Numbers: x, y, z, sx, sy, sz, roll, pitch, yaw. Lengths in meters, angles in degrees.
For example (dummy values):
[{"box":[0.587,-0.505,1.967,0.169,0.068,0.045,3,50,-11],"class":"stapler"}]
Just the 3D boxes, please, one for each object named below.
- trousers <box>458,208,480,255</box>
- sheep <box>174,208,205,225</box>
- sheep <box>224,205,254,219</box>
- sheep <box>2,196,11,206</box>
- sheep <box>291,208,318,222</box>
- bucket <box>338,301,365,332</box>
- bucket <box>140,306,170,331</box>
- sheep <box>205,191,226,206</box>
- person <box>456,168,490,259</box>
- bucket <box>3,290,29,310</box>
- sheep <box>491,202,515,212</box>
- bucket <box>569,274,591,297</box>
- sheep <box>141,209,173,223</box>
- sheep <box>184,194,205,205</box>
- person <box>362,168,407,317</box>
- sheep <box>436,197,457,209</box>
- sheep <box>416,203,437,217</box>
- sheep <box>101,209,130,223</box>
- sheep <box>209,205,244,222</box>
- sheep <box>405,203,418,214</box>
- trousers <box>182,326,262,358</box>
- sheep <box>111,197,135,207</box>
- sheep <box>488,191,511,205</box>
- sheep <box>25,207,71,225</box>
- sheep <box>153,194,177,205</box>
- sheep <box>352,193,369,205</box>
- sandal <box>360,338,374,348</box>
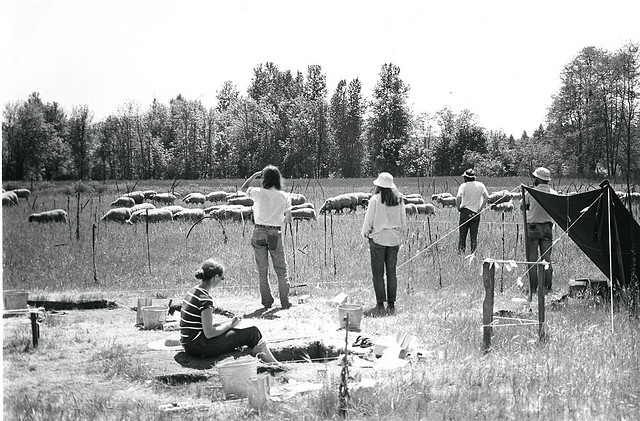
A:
[{"box":[4.986,0.709,31.489,0.716,1.552,0.752,-1,-2,5],"class":"trousers"},{"box":[-5.765,0.208,41.333,1.323,0.532,0.936,-1,-3,-15],"class":"sheep"},{"box":[-3.492,0.121,41.926,1.046,0.557,1.442,-3,-3,28],"class":"sheep"},{"box":[-12.410,-0.368,37.234,0.282,0.343,0.941,0,-3,-18],"class":"sheep"},{"box":[-0.744,0.184,42.391,1.424,0.780,0.432,2,-2,-22],"class":"sheep"},{"box":[0.869,2.957,25.999,0.597,0.640,0.691,1,-9,-3],"class":"bucket"},{"box":[-4.654,3.027,26.390,0.588,0.506,0.638,1,-7,0],"class":"bucket"},{"box":[-5.645,-0.747,52.717,1.480,0.845,0.493,-3,4,-29],"class":"sheep"},{"box":[5.055,0.097,31.325,0.947,3.015,1.310,-1,-2,8],"class":"person"},{"box":[-8.635,2.539,26.621,0.527,0.451,0.579,-1,-7,0],"class":"bucket"},{"box":[8.369,-0.148,43.323,0.944,0.533,0.489,6,4,20],"class":"sheep"},{"box":[7.646,2.307,27.680,0.422,0.500,0.441,0,-1,0],"class":"bucket"},{"box":[-7.061,0.243,40.433,0.964,0.617,1.511,-3,-3,37],"class":"sheep"},{"box":[-6.715,-0.602,50.801,1.179,0.559,0.691,1,-4,-45],"class":"sheep"},{"box":[1.857,0.996,27.113,1.156,4.100,0.643,-1,-2,4],"class":"person"},{"box":[6.165,-0.367,47.163,1.354,0.769,0.488,2,0,0],"class":"sheep"},{"box":[4.925,-0.042,43.444,0.822,0.554,1.659,-1,-3,5],"class":"sheep"},{"box":[-8.801,0.201,40.562,0.308,0.526,1.463,-3,-3,36],"class":"sheep"},{"box":[-4.221,0.143,41.696,1.343,0.748,0.492,-1,0,-11],"class":"sheep"},{"box":[4.222,-0.055,43.120,0.521,0.477,0.988,-1,-3,5],"class":"sheep"},{"box":[-2.557,3.466,24.688,1.979,0.806,0.190,-1,-2,3],"class":"trousers"},{"box":[-9.506,-0.425,45.319,1.108,0.553,1.572,0,-3,-32],"class":"sheep"},{"box":[9.004,-0.669,46.746,0.881,0.515,1.231,4,-4,-11],"class":"sheep"},{"box":[-10.893,0.264,37.433,1.865,1.083,0.513,-4,2,-18],"class":"sheep"},{"box":[-8.292,-0.583,50.501,1.070,0.648,1.655,1,-3,-39],"class":"sheep"},{"box":[2.307,-0.632,50.513,0.635,0.631,0.844,-1,-3,1],"class":"sheep"},{"box":[1.253,3.569,25.285,0.303,0.232,0.250,1,-3,-40],"class":"sandal"}]
